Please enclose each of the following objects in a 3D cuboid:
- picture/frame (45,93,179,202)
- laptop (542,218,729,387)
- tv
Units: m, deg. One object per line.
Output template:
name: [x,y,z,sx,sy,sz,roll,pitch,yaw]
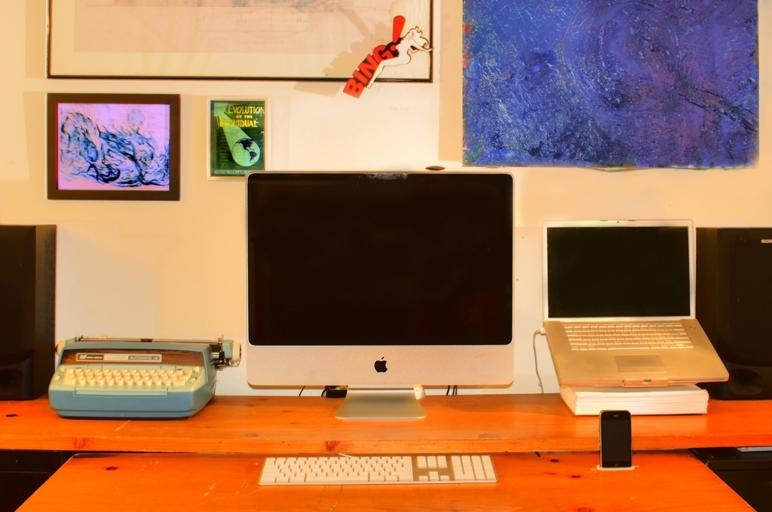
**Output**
picture/frame: [-1.033,-0.408,2.501,0.423,0.328,0.033,1,1,-4]
laptop: [0.848,0.240,2.479,0.686,0.478,0.564,-1,29,2]
tv: [-0.020,0.104,2.268,0.887,0.737,0.272,0,-2,-1]
